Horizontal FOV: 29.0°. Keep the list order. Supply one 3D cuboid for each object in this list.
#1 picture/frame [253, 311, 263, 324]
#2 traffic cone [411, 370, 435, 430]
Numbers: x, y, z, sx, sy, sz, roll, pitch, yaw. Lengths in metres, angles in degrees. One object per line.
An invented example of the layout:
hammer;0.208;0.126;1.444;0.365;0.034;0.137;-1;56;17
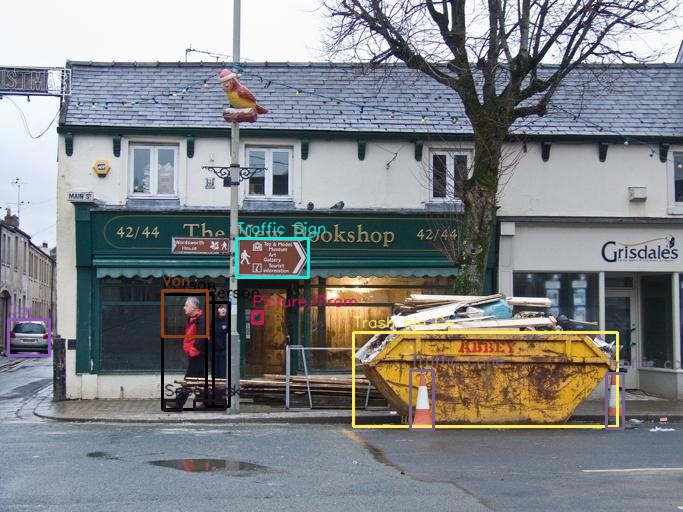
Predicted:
picture/frame;-2.072;1.509;32.428;0.229;0.302;0.033;-14;-5;-16
traffic cone;1.702;2.982;27.508;0.446;1.181;0.245;0;-2;2
